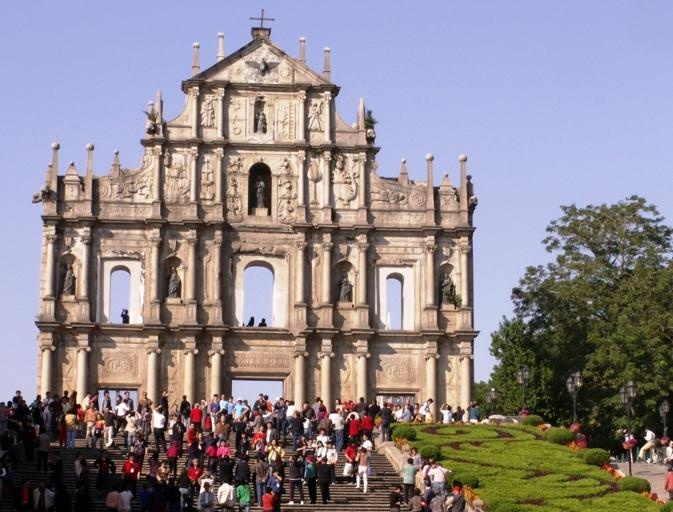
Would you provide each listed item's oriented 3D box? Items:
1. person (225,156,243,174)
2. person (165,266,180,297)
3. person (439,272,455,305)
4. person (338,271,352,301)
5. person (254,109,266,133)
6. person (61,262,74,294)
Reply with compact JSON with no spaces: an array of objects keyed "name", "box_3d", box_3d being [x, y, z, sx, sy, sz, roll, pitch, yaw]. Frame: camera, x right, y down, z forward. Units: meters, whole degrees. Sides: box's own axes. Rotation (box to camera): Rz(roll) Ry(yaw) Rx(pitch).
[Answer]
[{"name":"person","box_3d":[-5.590,-5.038,96.039,0.887,0.849,0.272,0,-10,-4]},{"name":"person","box_3d":[-8.789,1.365,94.741,0.699,1.686,0.351,0,-9,-8]},{"name":"person","box_3d":[5.961,1.693,96.052,0.932,1.743,0.511,-10,-12,43]},{"name":"person","box_3d":[0.385,1.647,95.780,0.764,1.600,0.460,1,-9,-14]},{"name":"person","box_3d":[-4.232,-7.358,96.611,0.650,1.261,0.215,-2,-9,6]},{"name":"person","box_3d":[-14.350,1.192,94.193,0.693,1.788,0.440,-3,-9,12]}]
